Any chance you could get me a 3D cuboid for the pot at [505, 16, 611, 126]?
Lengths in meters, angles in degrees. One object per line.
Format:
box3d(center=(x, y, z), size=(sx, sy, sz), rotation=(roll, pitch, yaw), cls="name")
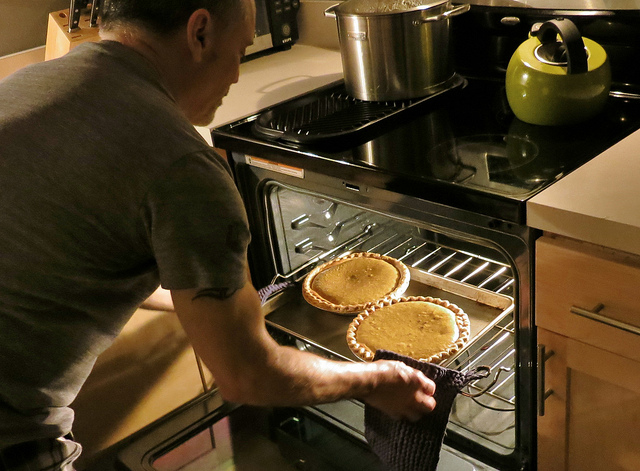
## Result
box3d(center=(0.596, -0.427, 1.359), size=(0.236, 0.237, 0.254), rotation=(-9, 40, 7), cls="pot")
